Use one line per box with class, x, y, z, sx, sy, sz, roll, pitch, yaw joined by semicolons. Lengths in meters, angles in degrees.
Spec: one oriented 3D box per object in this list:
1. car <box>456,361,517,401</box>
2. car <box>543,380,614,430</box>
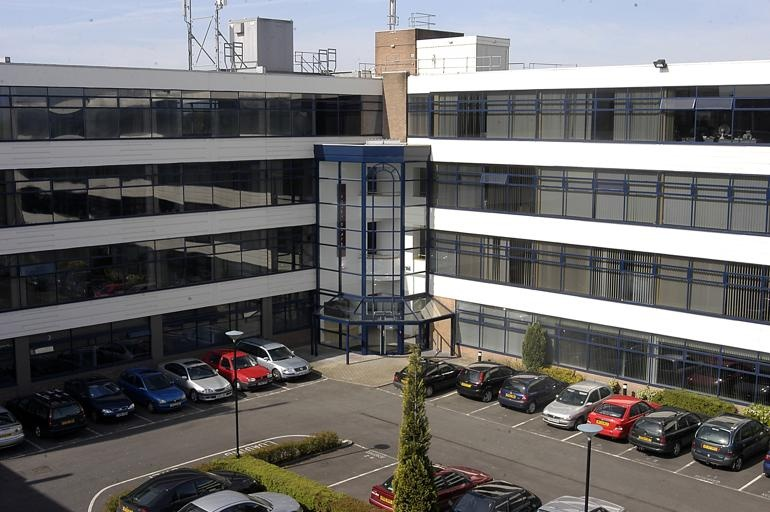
car;5.964;7.125;50.813;3.130;1.283;1.814;-13;14;-43
car;10.573;7.946;47.374;3.390;2.044;4.201;2;2;44
